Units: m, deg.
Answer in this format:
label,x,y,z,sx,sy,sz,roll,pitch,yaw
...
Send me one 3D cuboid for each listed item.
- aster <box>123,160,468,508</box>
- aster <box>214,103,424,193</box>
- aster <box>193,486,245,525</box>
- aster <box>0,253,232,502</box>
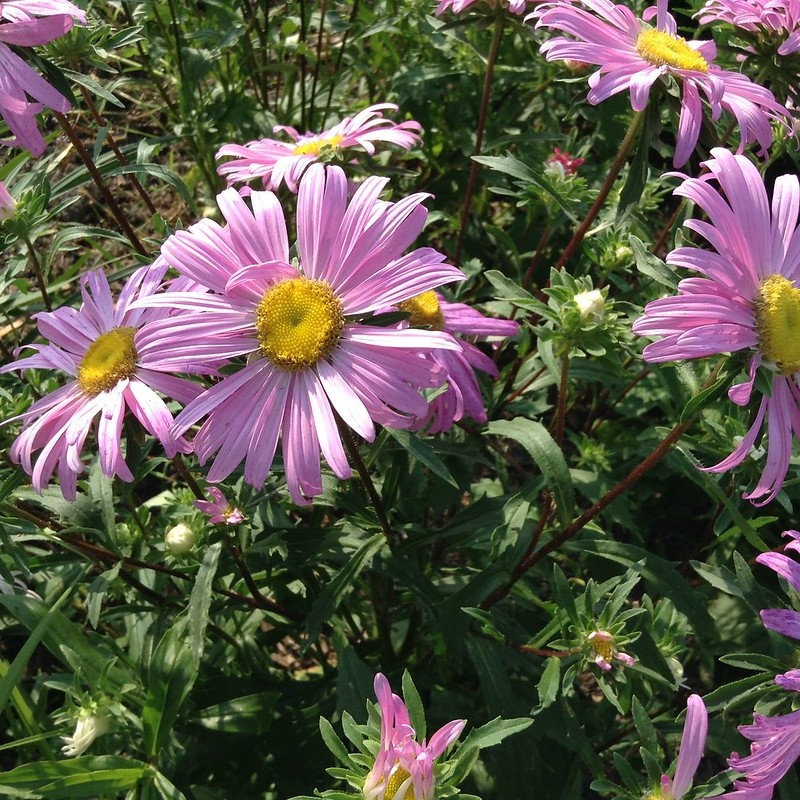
label,x,y,z,sx,sy,sz,roll,pitch,yaw
aster,-0.223,-0.142,1.781,0.839,0.170,0.667,7,80,3
aster,-0.176,-0.650,2.147,0.285,0.278,0.050,-22,78,-10
aster,-0.408,0.244,1.871,0.107,0.039,0.088,-8,93,30
aster,-0.690,-0.049,1.895,0.665,0.234,0.540,-13,68,16
